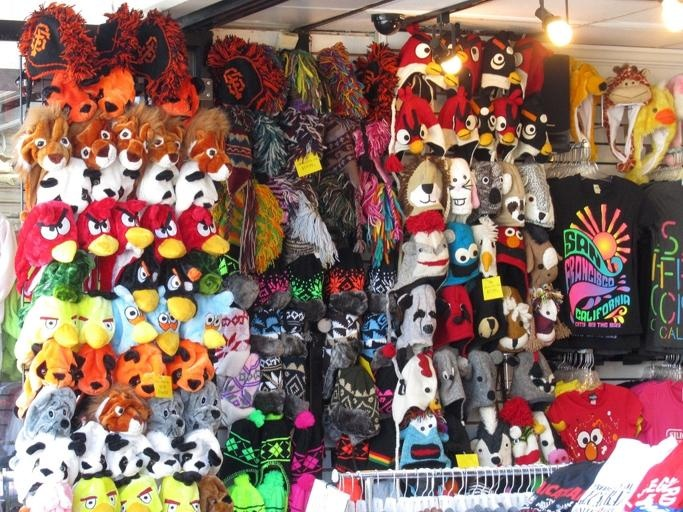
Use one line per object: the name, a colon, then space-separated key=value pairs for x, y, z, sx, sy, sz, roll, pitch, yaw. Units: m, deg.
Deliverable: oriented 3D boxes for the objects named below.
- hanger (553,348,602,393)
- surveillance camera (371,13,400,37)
hanger: x=1.163 y=0.576 z=3.514 sx=0.170 sy=0.087 sz=0.255 roll=-15 pitch=39 yaw=20
surveillance camera: x=0.198 y=-1.041 z=3.205 sx=0.099 sy=0.071 sz=0.100 roll=0 pitch=3 yaw=-20
